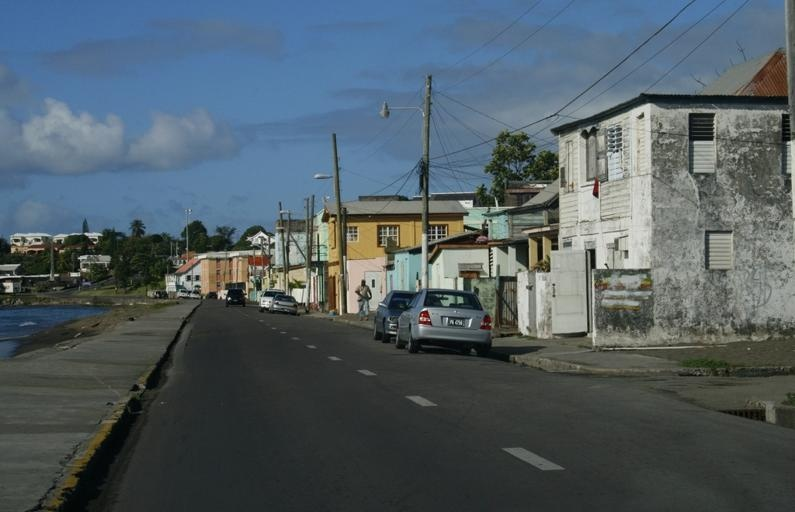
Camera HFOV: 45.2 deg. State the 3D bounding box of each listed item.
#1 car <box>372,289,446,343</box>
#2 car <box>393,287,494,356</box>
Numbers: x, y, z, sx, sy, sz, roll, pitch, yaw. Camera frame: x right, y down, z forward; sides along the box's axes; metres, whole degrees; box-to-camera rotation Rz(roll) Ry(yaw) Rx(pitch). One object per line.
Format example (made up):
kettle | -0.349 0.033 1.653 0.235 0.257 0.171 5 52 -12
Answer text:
car | 0.385 1.913 30.053 1.750 1.458 3.419 0 -5 -7
car | 1.184 1.841 28.683 1.524 1.227 2.827 2 1 -11
